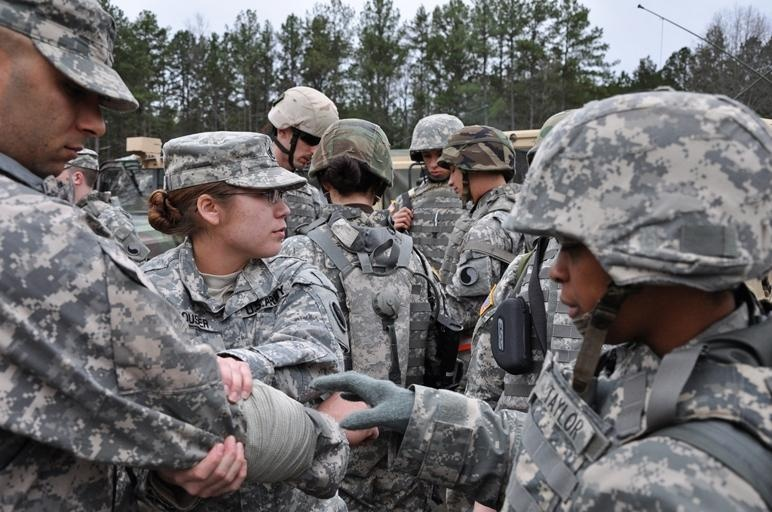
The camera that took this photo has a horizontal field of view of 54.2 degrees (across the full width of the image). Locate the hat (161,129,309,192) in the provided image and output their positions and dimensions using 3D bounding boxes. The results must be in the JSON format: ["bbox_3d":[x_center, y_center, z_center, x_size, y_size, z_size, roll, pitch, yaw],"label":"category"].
[{"bbox_3d":[-0.780,-0.506,3.986,0.818,0.328,0.576,0,8,8],"label":"hat"}]

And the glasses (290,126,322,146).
[{"bbox_3d":[-0.729,-1.077,6.853,0.253,0.125,0.198,33,19,25],"label":"glasses"}]
